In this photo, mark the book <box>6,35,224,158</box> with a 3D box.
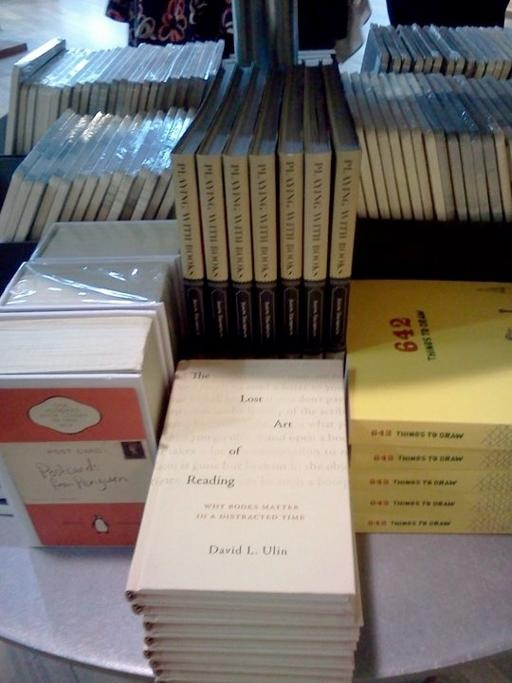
[{"bbox_3d":[-0.254,-0.427,1.095,0.355,0.133,0.270,-1,42,1],"label":"book"}]

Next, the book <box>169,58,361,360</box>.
[{"bbox_3d":[0.022,-0.190,0.808,0.226,0.340,0.307,0,32,6],"label":"book"}]
